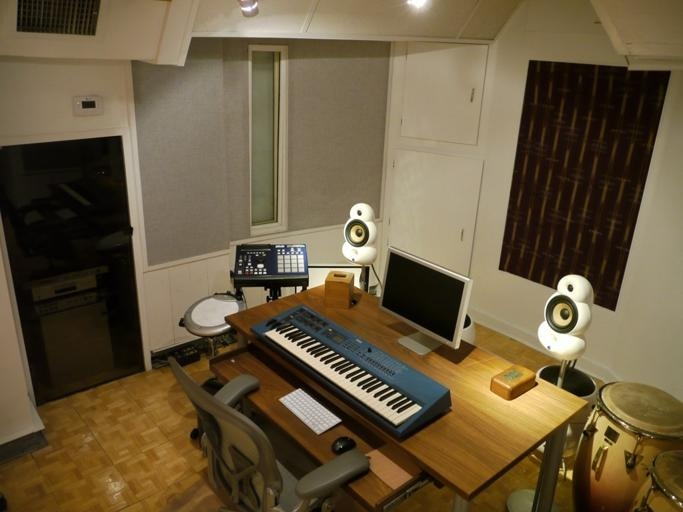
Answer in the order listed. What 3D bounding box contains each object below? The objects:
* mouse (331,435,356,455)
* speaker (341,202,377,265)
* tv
[{"bbox_3d":[0.006,0.983,2.561,0.083,0.028,0.087,19,36,34],"label":"mouse"},{"bbox_3d":[0.148,-0.172,3.965,0.255,0.502,0.252,2,17,2],"label":"speaker"},{"bbox_3d":[0.572,0.313,3.296,0.188,0.575,0.585,-15,37,-41],"label":"tv"}]
